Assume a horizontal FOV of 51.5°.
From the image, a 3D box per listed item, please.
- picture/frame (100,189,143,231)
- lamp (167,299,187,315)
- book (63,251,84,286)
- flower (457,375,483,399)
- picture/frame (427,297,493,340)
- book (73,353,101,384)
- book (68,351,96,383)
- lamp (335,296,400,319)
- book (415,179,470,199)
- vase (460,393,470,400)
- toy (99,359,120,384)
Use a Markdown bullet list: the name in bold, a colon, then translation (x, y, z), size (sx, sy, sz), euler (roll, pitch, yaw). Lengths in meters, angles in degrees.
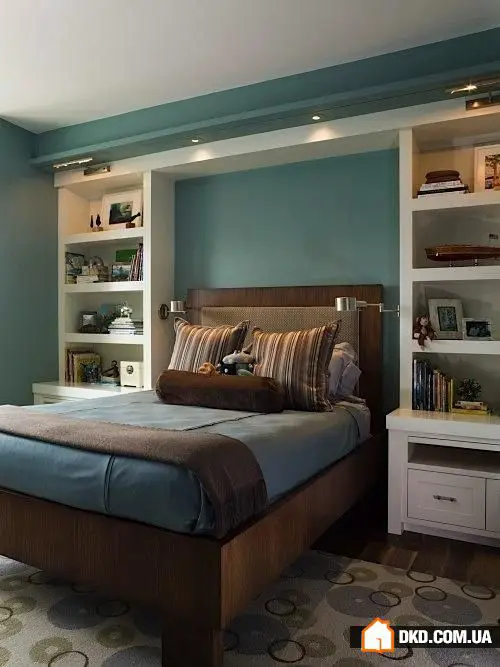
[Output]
- **picture/frame**: translation (-1.032, -0.997, 4.197), size (0.443, 0.309, 0.033), euler (0, -6, 33)
- **lamp**: translation (-0.514, -0.184, 3.762), size (0.124, 0.086, 0.122), euler (2, -1, -35)
- **book**: translation (-1.485, -0.543, 4.355), size (0.054, 0.213, 0.228), euler (7, 6, 3)
- **flower**: translation (1.230, 0.299, 2.924), size (0.127, 0.138, 0.114), euler (3, -2, 22)
- **picture/frame**: translation (1.172, -0.077, 2.887), size (0.233, 0.198, 0.081), euler (2, -20, 9)
- **book**: translation (-1.356, 0.295, 4.273), size (0.242, 0.224, 0.086), euler (2, -10, -43)
- **book**: translation (-1.397, 0.284, 4.270), size (0.147, 0.243, 0.261), euler (-4, -4, 42)
- **lamp**: translation (0.721, -0.161, 2.973), size (0.510, 0.102, 0.157), euler (2, 0, -11)
- **book**: translation (1.023, -0.772, 2.766), size (0.247, 0.107, 0.119), euler (0, -2, 17)
- **vase**: translation (1.190, 0.347, 2.877), size (0.026, 0.045, 0.048), euler (9, -10, -44)
- **toy**: translation (-1.163, 0.308, 4.300), size (0.227, 0.217, 0.175), euler (-3, -6, 39)
